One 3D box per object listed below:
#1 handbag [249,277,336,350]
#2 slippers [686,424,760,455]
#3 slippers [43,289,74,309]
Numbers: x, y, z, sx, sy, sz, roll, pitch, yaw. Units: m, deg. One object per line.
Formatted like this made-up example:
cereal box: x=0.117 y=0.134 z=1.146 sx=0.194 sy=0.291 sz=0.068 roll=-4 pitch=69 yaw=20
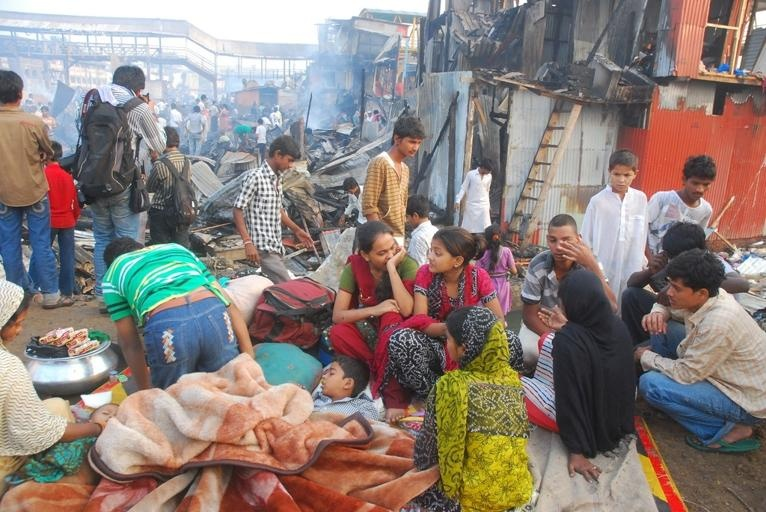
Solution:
handbag: x=-0.940 y=0.614 z=5.844 sx=0.716 sy=0.418 sz=0.737 roll=19 pitch=11 yaw=26
slippers: x=3.000 y=1.616 z=4.768 sx=0.583 sy=0.167 sz=0.235 roll=-6 pitch=16 yaw=9
slippers: x=-4.147 y=0.525 z=6.925 sx=0.373 sy=0.238 sz=0.154 roll=-8 pitch=15 yaw=-35
